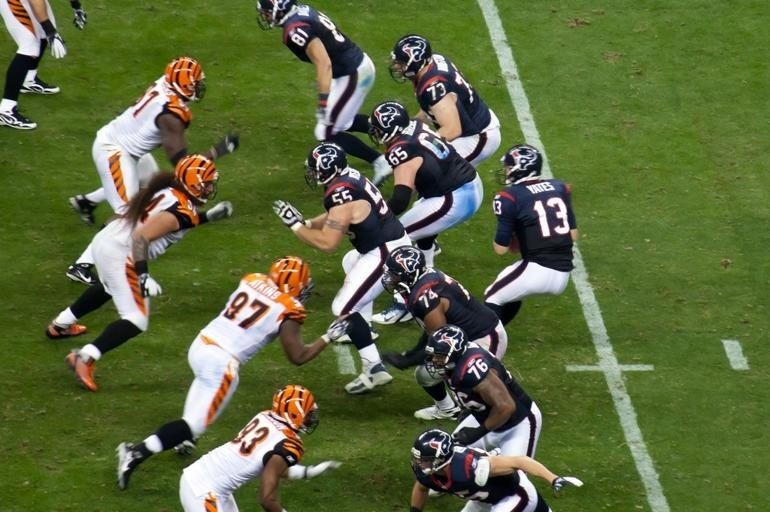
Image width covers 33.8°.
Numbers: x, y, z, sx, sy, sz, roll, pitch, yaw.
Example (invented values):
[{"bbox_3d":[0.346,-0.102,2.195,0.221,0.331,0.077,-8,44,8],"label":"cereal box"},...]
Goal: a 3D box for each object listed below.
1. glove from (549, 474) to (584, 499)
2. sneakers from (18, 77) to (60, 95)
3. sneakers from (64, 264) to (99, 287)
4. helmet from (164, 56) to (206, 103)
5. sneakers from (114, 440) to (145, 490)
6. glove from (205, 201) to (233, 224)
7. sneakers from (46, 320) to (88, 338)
[{"bbox_3d":[1.763,2.205,12.469,0.449,0.186,0.161,6,49,4],"label":"glove"},{"bbox_3d":[-4.726,-2.321,17.277,0.596,0.198,0.180,-3,27,-13],"label":"sneakers"},{"bbox_3d":[-3.524,0.212,14.720,0.373,0.228,0.100,13,45,-26],"label":"sneakers"},{"bbox_3d":[-2.356,-2.059,14.931,0.481,0.597,0.397,-8,59,-18],"label":"helmet"},{"bbox_3d":[-2.630,2.157,13.104,0.308,0.206,0.528,3,74,3],"label":"sneakers"},{"bbox_3d":[-1.863,-0.499,14.368,0.329,0.117,0.179,-23,37,0],"label":"glove"},{"bbox_3d":[-3.629,0.816,14.408,0.486,0.180,0.163,-4,48,-26],"label":"sneakers"}]
